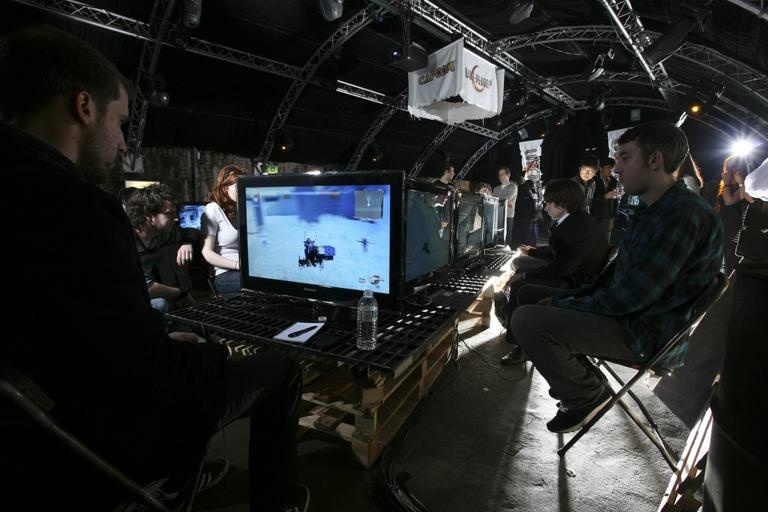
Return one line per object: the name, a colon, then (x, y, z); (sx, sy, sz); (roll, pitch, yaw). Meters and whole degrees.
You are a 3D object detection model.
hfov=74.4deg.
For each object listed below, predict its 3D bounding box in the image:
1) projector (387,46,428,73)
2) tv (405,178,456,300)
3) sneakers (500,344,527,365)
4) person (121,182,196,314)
projector: (0.309, -2.539, 6.471); (0.518, 0.308, 0.340); (3, 7, 16)
tv: (0.334, -0.115, 3.725); (0.098, 0.628, 0.907); (3, 9, 21)
sneakers: (1.237, 0.953, 4.816); (0.122, 0.152, 0.367); (-8, -12, 42)
person: (-1.789, -0.042, 4.072); (0.489, 0.469, 1.415); (7, -30, -18)
